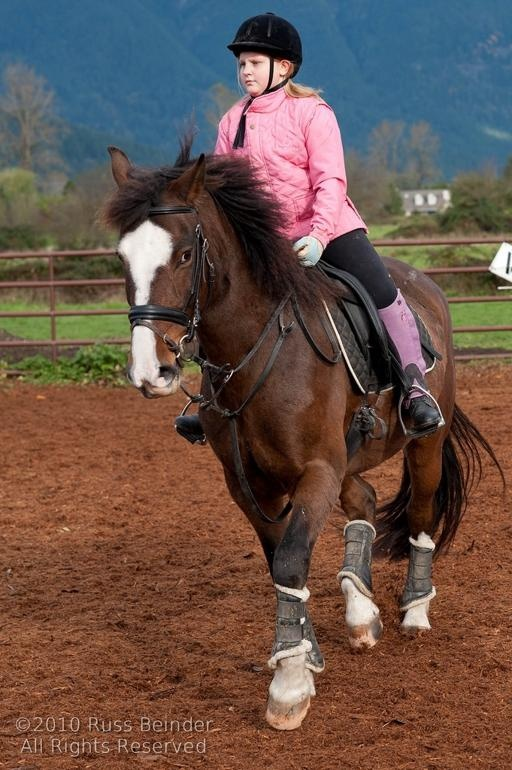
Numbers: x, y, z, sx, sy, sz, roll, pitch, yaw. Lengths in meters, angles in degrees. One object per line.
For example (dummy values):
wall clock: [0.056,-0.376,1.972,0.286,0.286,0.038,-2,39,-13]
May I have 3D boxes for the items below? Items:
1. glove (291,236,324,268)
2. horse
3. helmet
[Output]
glove: [0.193,-0.485,3.079,0.098,0.110,0.052,-7,10,-3]
horse: [0.184,0.120,3.294,0.685,2.047,1.902,5,10,31]
helmet: [0.037,-1.327,3.223,0.237,0.171,0.321,21,20,38]
